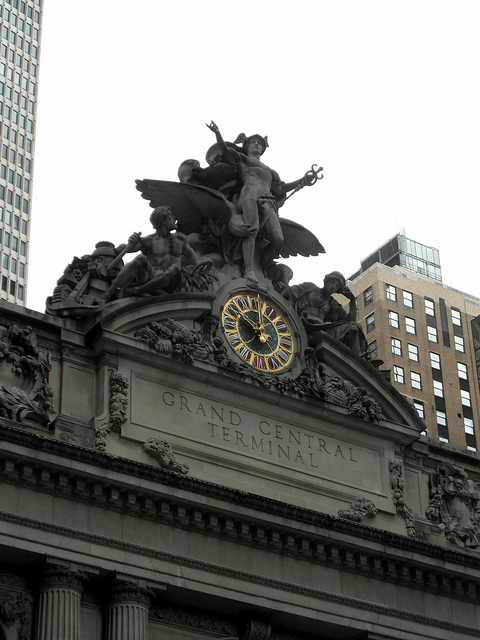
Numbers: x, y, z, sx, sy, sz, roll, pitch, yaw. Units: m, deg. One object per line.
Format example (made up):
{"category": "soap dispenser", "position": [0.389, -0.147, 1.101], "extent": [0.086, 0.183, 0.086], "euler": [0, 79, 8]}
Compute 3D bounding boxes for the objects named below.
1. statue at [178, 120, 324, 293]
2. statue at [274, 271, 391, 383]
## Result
{"category": "statue", "position": [0.027, -3.393, 51.537], "extent": [5.343, 5.842, 2.681], "euler": [8, -40, -15]}
{"category": "statue", "position": [3.163, 0.380, 57.211], "extent": [4.636, 3.961, 1.319], "euler": [33, -51, -28]}
